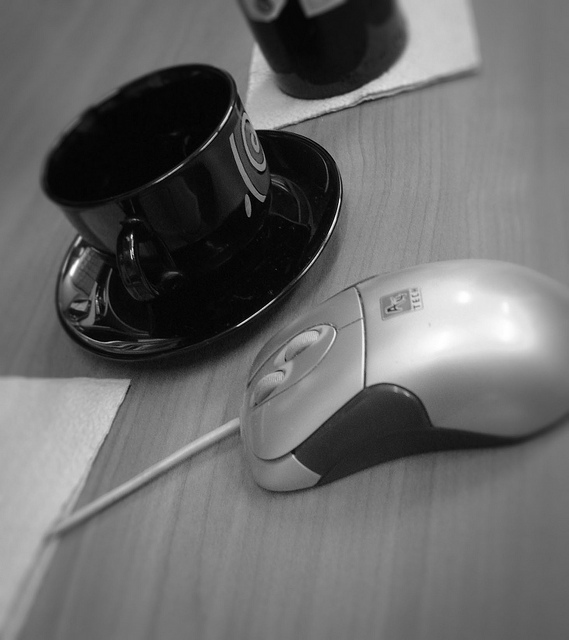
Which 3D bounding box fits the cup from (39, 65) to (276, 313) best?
[{"bbox_3d":[-0.058,-0.049,0.298,0.067,0.074,0.114,-7,48,13],"label":"cup"}]
